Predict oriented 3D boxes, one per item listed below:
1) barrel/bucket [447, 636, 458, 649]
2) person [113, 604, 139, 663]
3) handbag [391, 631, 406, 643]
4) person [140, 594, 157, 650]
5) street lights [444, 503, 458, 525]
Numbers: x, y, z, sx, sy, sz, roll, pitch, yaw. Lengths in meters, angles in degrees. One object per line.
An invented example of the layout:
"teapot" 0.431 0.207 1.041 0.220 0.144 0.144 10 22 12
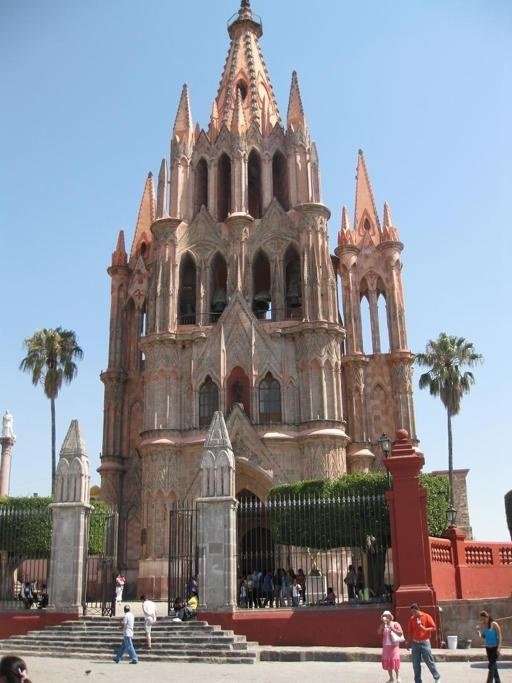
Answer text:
"barrel/bucket" 3.980 6.034 12.678 0.197 0.212 0.210 0 -15 0
"person" -2.528 5.686 12.349 0.409 0.945 2.084 1 -19 -11
"handbag" 1.905 4.011 8.584 0.184 0.191 0.338 -5 -18 11
"person" -2.265 5.920 13.357 0.271 0.947 1.363 1 -18 -9
"street lights" 5.348 4.803 17.279 0.214 0.558 1.230 -6 -19 14
